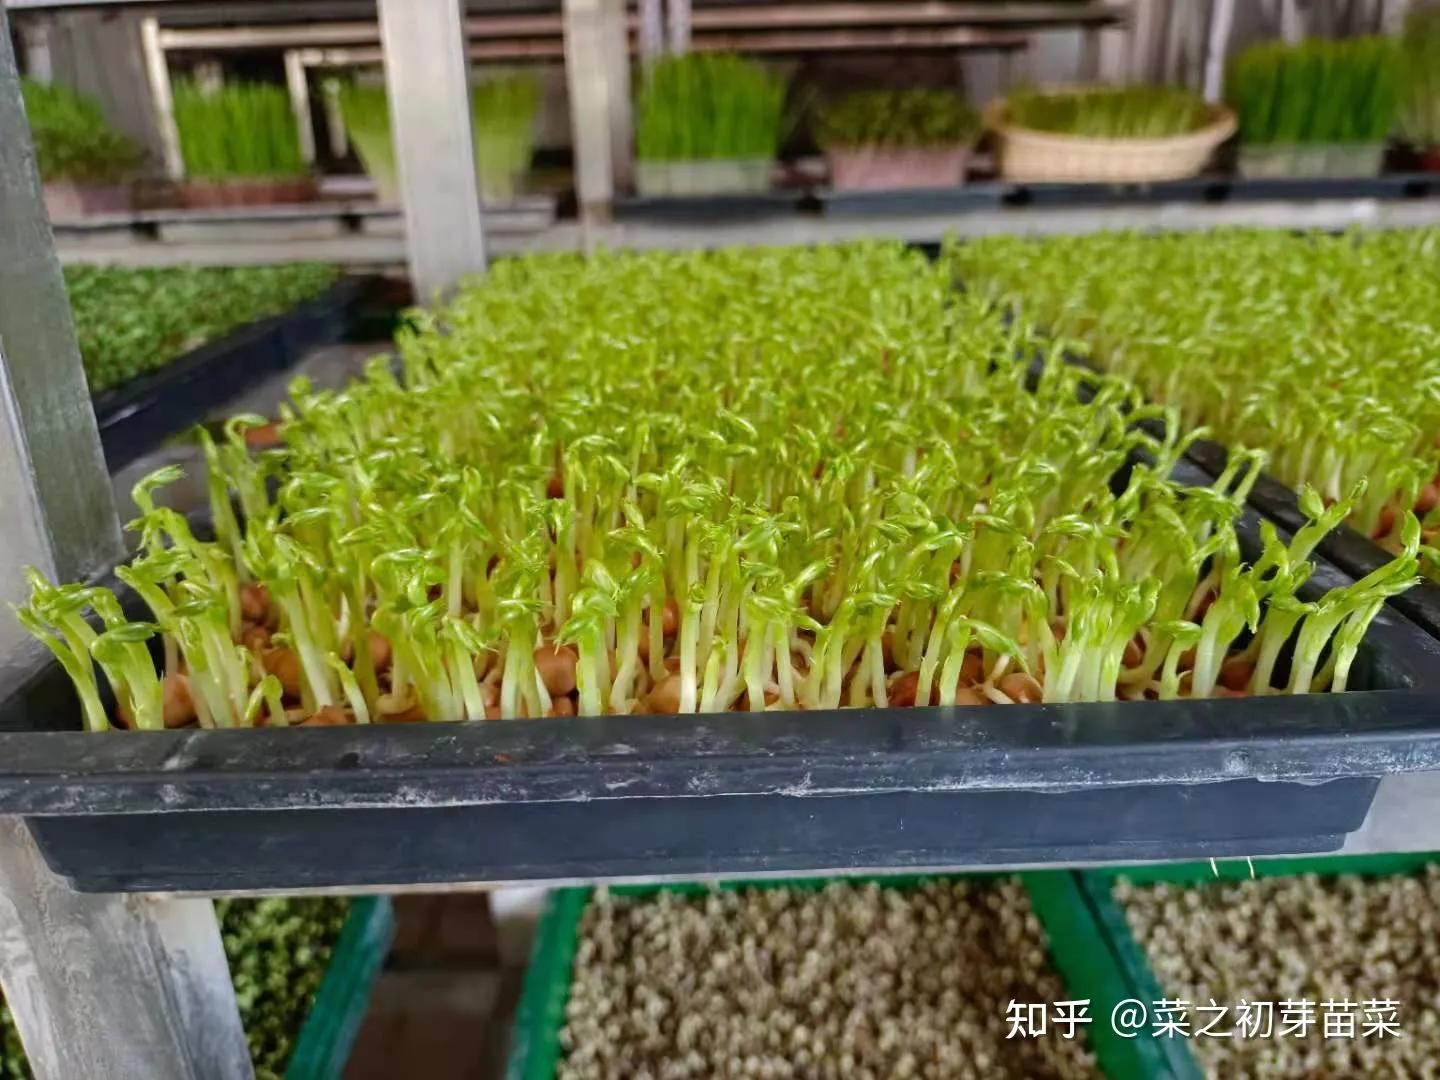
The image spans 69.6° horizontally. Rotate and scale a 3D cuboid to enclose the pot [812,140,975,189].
[{"bbox_3d":[0.488,-1.068,2.893,0.412,0.134,0.263,-4,26,0],"label":"pot"}]
